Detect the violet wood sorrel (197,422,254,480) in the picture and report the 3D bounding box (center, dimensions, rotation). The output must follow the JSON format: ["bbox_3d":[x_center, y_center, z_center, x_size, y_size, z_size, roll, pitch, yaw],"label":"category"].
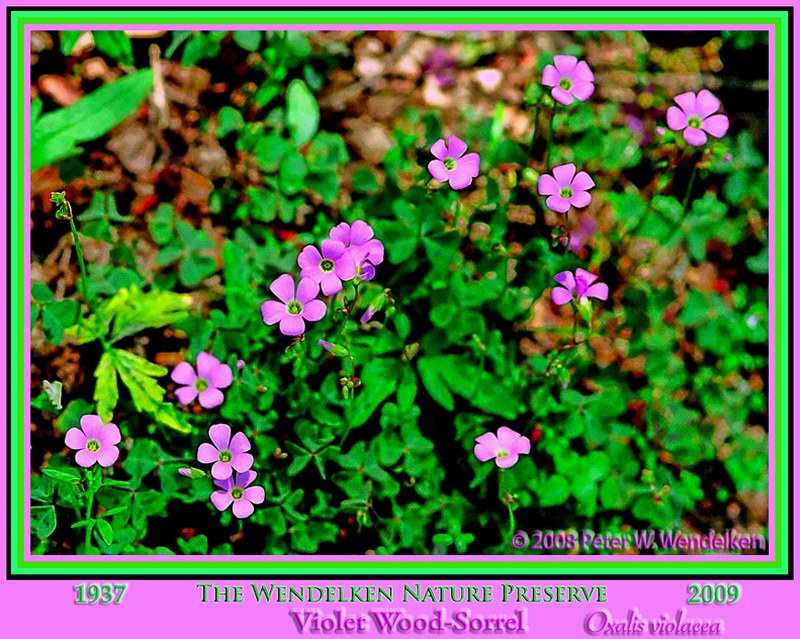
[{"bbox_3d":[-0.364,0.279,1.643,0.110,0.110,0.108,-4,-11,-14],"label":"violet wood sorrel"}]

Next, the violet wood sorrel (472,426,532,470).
[{"bbox_3d":[0.213,0.267,1.641,0.111,0.079,0.053,-8,-11,5],"label":"violet wood sorrel"}]
